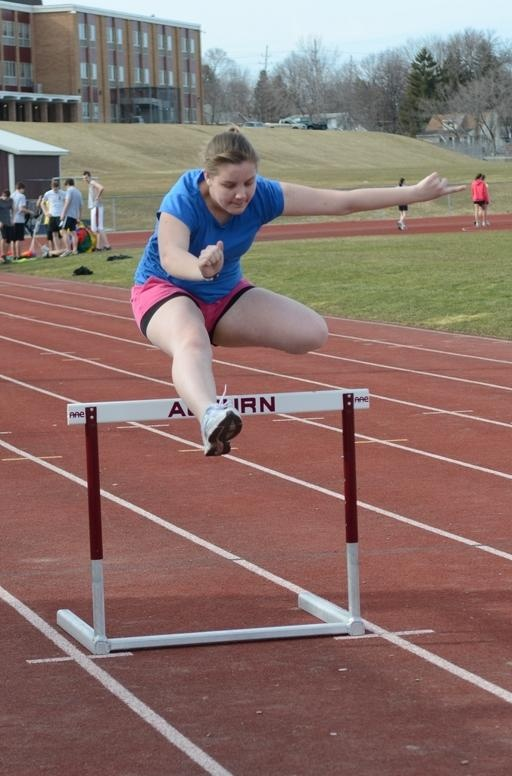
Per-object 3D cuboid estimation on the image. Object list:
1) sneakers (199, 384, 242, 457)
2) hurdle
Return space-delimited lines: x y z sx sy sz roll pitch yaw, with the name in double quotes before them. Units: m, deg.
"sneakers" -0.109 0.101 2.590 0.087 0.109 0.246 -10 -27 -13
"hurdle" -0.247 0.495 3.420 1.163 0.856 0.818 0 -5 -26
